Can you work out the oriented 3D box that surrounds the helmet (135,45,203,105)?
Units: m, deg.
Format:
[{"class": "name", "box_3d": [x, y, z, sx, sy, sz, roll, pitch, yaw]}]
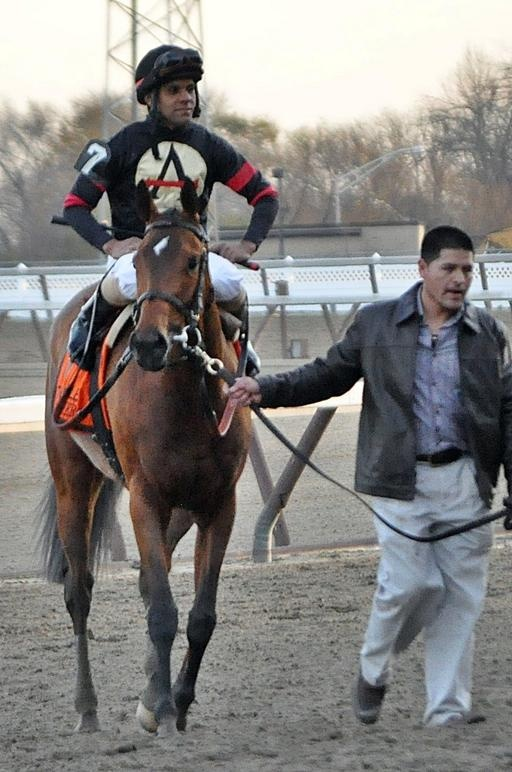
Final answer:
[{"class": "helmet", "box_3d": [-0.328, -1.121, 3.819, 0.208, 0.153, 0.279, -26, 16, -32]}]

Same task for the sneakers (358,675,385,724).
[{"class": "sneakers", "box_3d": [0.396, 1.014, 3.465, 0.104, 0.116, 0.083, 10, -16, -3]}]

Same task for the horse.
[{"class": "horse", "box_3d": [-0.407, 0.366, 4.131, 0.691, 1.725, 2.826, 3, -9, -17]}]

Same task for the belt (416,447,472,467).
[{"class": "belt", "box_3d": [0.582, 0.221, 3.340, 0.156, 0.054, 0.036, -2, 4, 5]}]

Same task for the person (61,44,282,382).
[{"class": "person", "box_3d": [-0.366, -0.554, 3.897, 0.959, 1.285, 0.770, -8, 15, -29]}]
